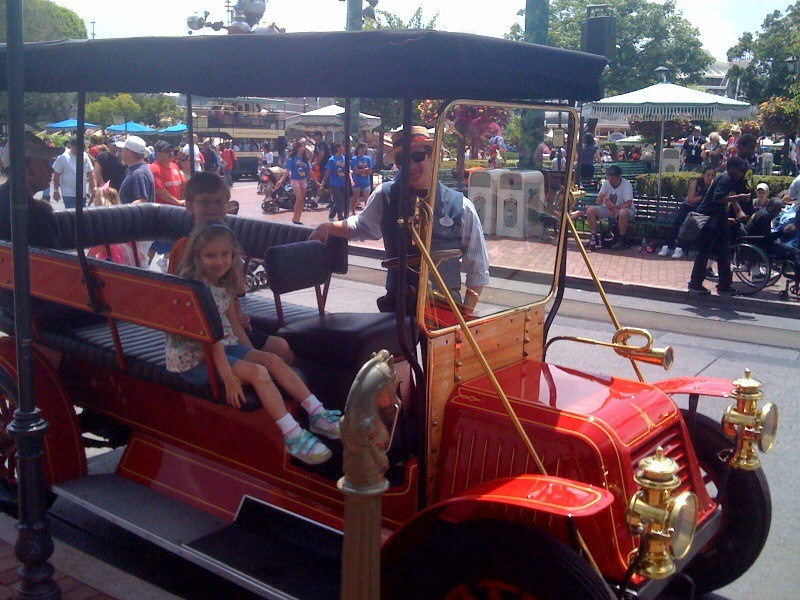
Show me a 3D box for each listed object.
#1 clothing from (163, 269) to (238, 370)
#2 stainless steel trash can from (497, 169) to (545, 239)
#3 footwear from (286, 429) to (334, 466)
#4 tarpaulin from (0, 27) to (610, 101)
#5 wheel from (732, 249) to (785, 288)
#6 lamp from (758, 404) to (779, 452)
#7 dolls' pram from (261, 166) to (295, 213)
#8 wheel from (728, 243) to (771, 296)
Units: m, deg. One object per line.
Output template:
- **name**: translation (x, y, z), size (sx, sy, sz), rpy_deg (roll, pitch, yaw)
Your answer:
- **clothing**: translation (-1.150, 0.103, 4.087), size (0.364, 0.497, 0.501), rpy_deg (-4, 17, 36)
- **stainless steel trash can**: translation (0.650, -0.510, 3.771), size (0.179, 0.347, 0.175), rpy_deg (-6, 10, -42)
- **footwear**: translation (-0.471, 0.766, 3.642), size (0.243, 0.130, 0.133), rpy_deg (11, 21, 33)
- **tarpaulin**: translation (-0.590, -1.230, 3.750), size (2.951, 0.392, 1.014), rpy_deg (11, 18, 23)
- **wheel**: translation (5.160, -0.489, 10.181), size (0.720, 0.836, 0.470), rpy_deg (7, 9, 38)
- **lamp**: translation (1.785, 0.616, 3.379), size (0.043, 0.208, 0.206), rpy_deg (7, 43, 16)
- **dolls' pram**: translation (-3.490, -3.126, 19.708), size (0.863, 1.131, 1.694), rpy_deg (3, 16, 7)
- **wheel**: translation (5.072, -0.456, 10.081), size (0.694, 0.833, 0.457), rpy_deg (7, 9, 40)
